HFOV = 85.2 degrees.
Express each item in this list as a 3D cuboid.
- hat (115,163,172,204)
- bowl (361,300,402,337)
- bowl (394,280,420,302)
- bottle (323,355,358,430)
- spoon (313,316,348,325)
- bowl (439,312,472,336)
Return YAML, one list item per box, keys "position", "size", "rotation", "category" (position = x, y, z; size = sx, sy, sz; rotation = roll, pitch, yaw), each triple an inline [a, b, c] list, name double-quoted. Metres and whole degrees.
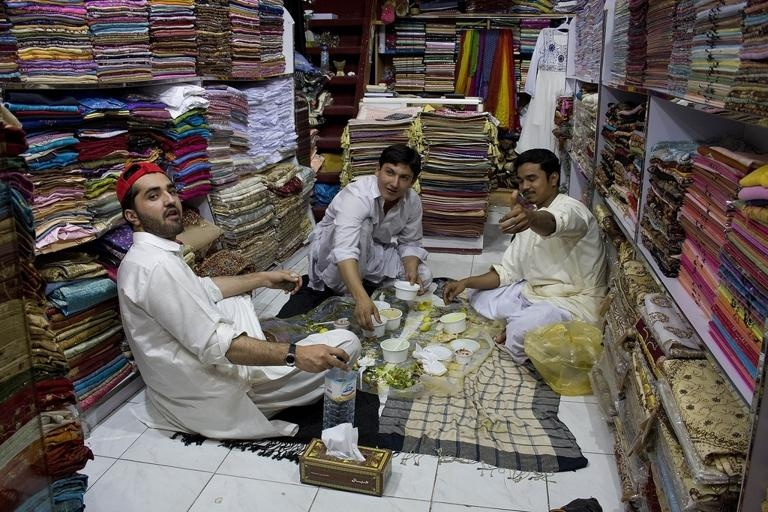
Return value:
- position: [-1.439, -0.459, 2.487]
  size: [0.284, 0.180, 0.213]
  rotation: [-24, 9, 7]
  category: "hat"
- position: [0.022, 0.499, 3.388]
  size: [0.215, 0.101, 0.287]
  rotation: [3, 20, 8]
  category: "bowl"
- position: [0.189, 0.290, 3.557]
  size: [0.184, 0.082, 0.178]
  rotation: [12, 16, -4]
  category: "bowl"
- position: [-0.252, 0.775, 2.351]
  size: [0.217, 0.533, 0.155]
  rotation: [4, 54, -9]
  category: "bottle"
- position: [-0.441, 0.534, 3.398]
  size: [0.310, 0.075, 0.087]
  rotation: [0, -1, -6]
  category: "spoon"
- position: [0.563, 0.538, 3.336]
  size: [0.134, 0.077, 0.198]
  rotation: [-15, 19, -27]
  category: "bowl"
